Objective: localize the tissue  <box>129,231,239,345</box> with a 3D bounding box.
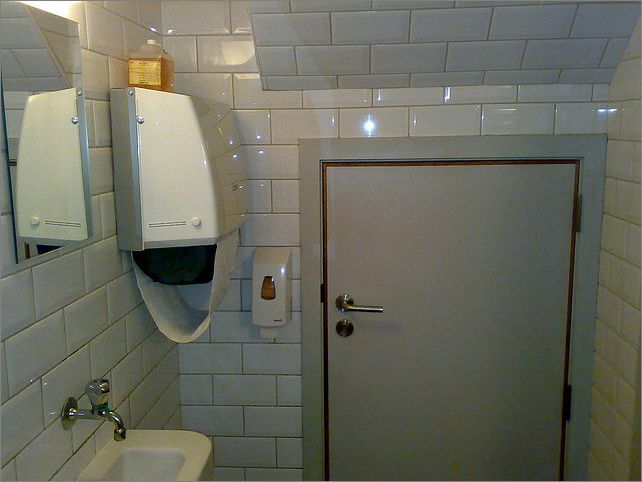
[{"bbox_3d":[-0.461,0.187,2.118,0.368,0.496,0.464,5,-83,1],"label":"tissue "}]
